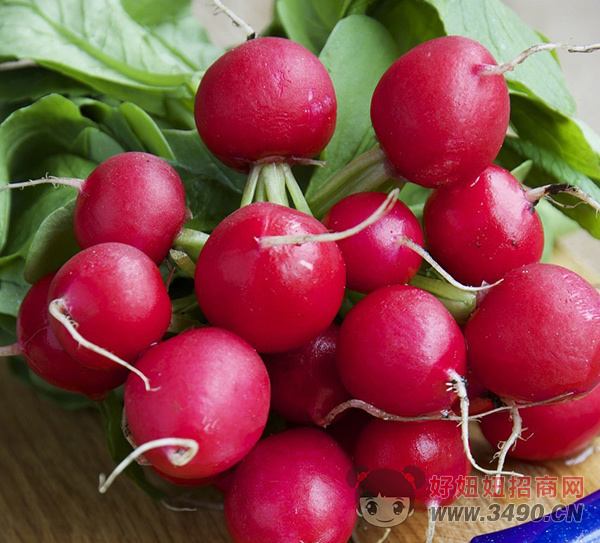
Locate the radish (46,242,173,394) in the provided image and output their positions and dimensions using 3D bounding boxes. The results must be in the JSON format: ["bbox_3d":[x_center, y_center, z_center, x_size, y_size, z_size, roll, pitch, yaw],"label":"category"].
[{"bbox_3d":[-0.141,0.029,0.490,0.086,0.093,0.107,2,43,-42],"label":"radish"}]

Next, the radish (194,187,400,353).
[{"bbox_3d":[-0.021,0.002,0.461,0.114,0.093,0.092,28,55,3],"label":"radish"}]

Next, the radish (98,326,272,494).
[{"bbox_3d":[-0.077,0.098,0.453,0.106,0.081,0.098,1,58,-15],"label":"radish"}]
